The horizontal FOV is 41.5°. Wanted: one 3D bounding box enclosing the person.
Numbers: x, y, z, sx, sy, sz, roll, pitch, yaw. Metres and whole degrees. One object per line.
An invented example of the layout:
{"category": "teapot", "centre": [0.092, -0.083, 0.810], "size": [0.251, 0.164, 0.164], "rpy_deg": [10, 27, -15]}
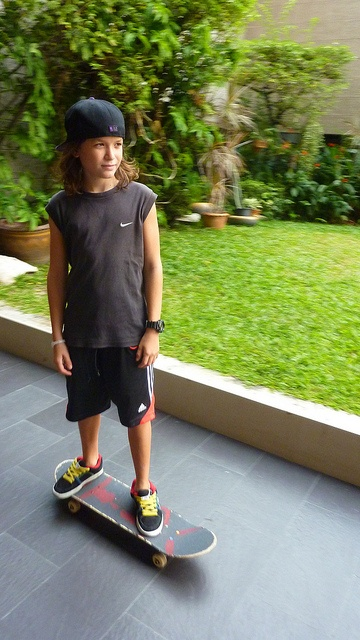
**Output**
{"category": "person", "centre": [-0.220, 0.034, 1.396], "size": [0.355, 1.239, 0.199], "rpy_deg": [2, 14, 4]}

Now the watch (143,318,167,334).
{"category": "watch", "centre": [-0.064, 0.018, 1.378], "size": [0.045, 0.034, 0.049], "rpy_deg": [0, 0, 16]}

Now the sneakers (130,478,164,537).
{"category": "sneakers", "centre": [-0.099, 0.597, 1.505], "size": [0.057, 0.063, 0.162], "rpy_deg": [-3, 18, -11]}

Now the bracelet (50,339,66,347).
{"category": "bracelet", "centre": [-0.369, 0.069, 1.439], "size": [0.027, 0.012, 0.025], "rpy_deg": [-9, -13, 13]}

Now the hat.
{"category": "hat", "centre": [-0.221, -0.488, 1.193], "size": [0.142, 0.092, 0.100], "rpy_deg": [11, 32, 29]}
